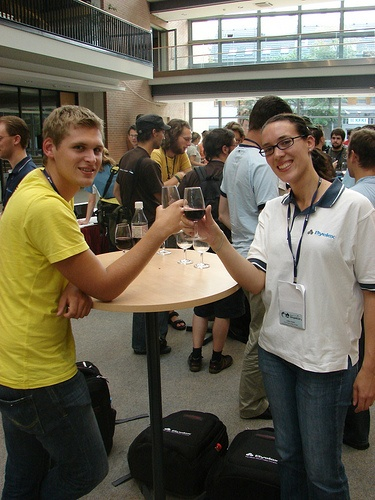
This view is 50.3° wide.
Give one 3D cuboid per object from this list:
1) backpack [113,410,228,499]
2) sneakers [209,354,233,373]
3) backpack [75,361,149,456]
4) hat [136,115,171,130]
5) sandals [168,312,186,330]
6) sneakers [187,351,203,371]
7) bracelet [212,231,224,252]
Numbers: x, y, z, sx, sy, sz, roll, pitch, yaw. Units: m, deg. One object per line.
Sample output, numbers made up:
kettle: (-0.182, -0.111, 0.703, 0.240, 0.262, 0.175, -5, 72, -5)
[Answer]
backpack: (-0.084, 0.830, 1.771, 0.373, 0.177, 0.375, -1, 2, 24)
sneakers: (0.239, 0.799, 2.897, 0.081, 0.092, 0.223, 4, 12, 33)
backpack: (-0.402, 0.743, 2.037, 0.313, 0.444, 0.456, -1, -4, 9)
hat: (-0.258, -0.957, 2.969, 0.171, 0.081, 0.118, -15, 29, -26)
sandals: (-0.097, 0.657, 3.725, 0.088, 0.082, 0.233, -8, 14, -24)
sneakers: (0.060, 0.799, 2.846, 0.063, 0.065, 0.155, 1, 7, 4)
bracelet: (0.107, -0.033, 1.275, 0.012, 0.044, 0.047, 24, -15, -19)
